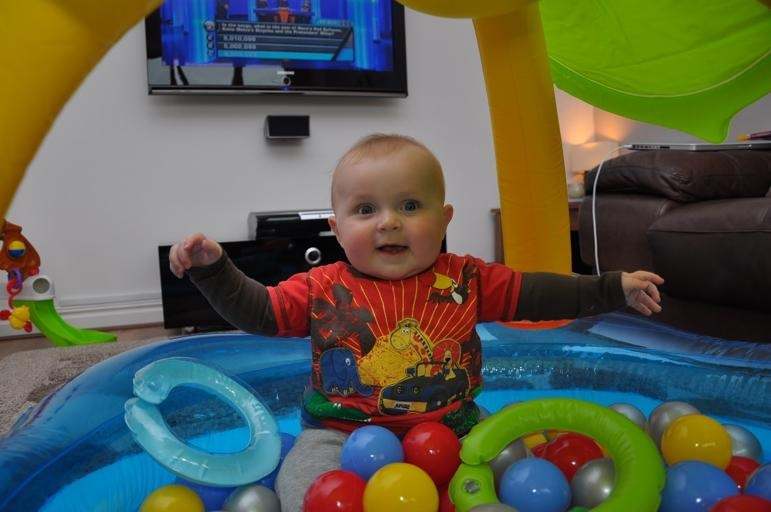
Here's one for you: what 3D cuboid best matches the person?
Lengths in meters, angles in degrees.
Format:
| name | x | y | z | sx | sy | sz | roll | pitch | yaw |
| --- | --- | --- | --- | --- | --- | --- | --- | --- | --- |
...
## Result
| name | x | y | z | sx | sy | sz | roll | pitch | yaw |
| --- | --- | --- | --- | --- | --- | --- | --- | --- | --- |
| person | 0.072 | 0.130 | 1.333 | 1.229 | 0.889 | 0.667 | -3 | 6 | -6 |

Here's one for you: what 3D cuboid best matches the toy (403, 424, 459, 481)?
| name | x | y | z | sx | sy | sz | roll | pitch | yaw |
| --- | --- | --- | --- | --- | --- | --- | --- | --- | --- |
| toy | 0.084 | 0.345 | 0.923 | 0.099 | 0.112 | 0.097 | -4 | 18 | 4 |

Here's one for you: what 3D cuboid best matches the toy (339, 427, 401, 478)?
| name | x | y | z | sx | sy | sz | roll | pitch | yaw |
| --- | --- | --- | --- | --- | --- | --- | --- | --- | --- |
| toy | -0.026 | 0.338 | 0.963 | 0.085 | 0.084 | 0.097 | 21 | -4 | 3 |

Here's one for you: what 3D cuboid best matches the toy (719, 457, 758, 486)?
| name | x | y | z | sx | sy | sz | roll | pitch | yaw |
| --- | --- | --- | --- | --- | --- | --- | --- | --- | --- |
| toy | 0.651 | 0.392 | 0.952 | 0.043 | 0.058 | 0.045 | 34 | -28 | -7 |

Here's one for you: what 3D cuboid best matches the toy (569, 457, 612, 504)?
| name | x | y | z | sx | sy | sz | roll | pitch | yaw |
| --- | --- | --- | --- | --- | --- | --- | --- | --- | --- |
| toy | 0.358 | 0.393 | 0.893 | 0.071 | 0.067 | 0.061 | -2 | 15 | 3 |

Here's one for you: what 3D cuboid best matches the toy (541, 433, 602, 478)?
| name | x | y | z | sx | sy | sz | roll | pitch | yaw |
| --- | --- | --- | --- | --- | --- | --- | --- | --- | --- |
| toy | 0.345 | 0.365 | 0.964 | 0.082 | 0.094 | 0.082 | 20 | -20 | 16 |
